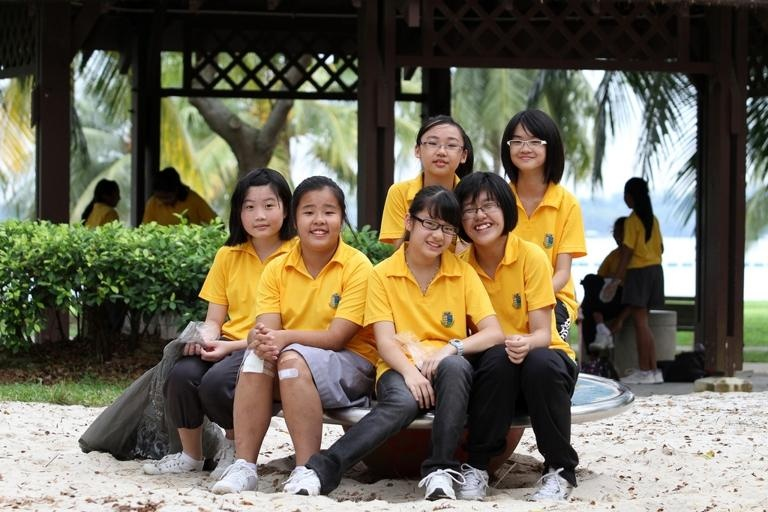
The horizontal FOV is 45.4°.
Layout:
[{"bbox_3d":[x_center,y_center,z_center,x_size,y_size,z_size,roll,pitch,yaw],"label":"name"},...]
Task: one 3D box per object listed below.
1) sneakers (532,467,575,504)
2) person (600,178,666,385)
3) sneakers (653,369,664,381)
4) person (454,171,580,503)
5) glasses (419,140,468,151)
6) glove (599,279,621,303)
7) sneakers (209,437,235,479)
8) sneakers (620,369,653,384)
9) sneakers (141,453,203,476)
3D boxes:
[{"bbox_3d":[1.213,1.659,6.680,0.170,0.226,0.536,-3,4,23],"label":"sneakers"},{"bbox_3d":[3.016,0.265,10.899,0.520,2.219,0.592,-2,-1,16],"label":"person"},{"bbox_3d":[3.199,1.395,10.742,0.078,0.146,0.232,-3,-1,33],"label":"sneakers"},{"bbox_3d":[0.957,0.553,6.742,0.859,2.006,0.678,-2,-1,13],"label":"person"},{"bbox_3d":[0.442,-0.894,7.357,0.330,0.065,0.065,-3,-1,3],"label":"glasses"},{"bbox_3d":[2.668,0.410,11.017,0.171,0.332,0.083,17,10,27],"label":"glove"},{"bbox_3d":[-1.198,1.527,6.944,0.123,0.169,0.386,21,25,-7],"label":"sneakers"},{"bbox_3d":[2.933,1.387,10.705,0.411,0.200,0.172,1,-4,12],"label":"sneakers"},{"bbox_3d":[-1.593,1.591,6.967,0.442,0.201,0.173,5,-6,-3],"label":"sneakers"}]
